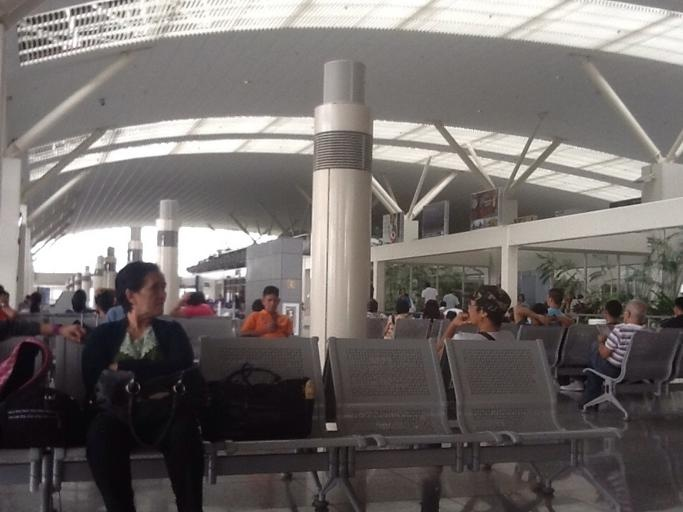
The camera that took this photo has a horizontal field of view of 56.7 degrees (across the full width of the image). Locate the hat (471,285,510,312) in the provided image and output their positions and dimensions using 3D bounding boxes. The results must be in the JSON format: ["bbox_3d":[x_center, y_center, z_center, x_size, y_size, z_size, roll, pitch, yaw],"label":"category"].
[{"bbox_3d":[1.352,0.374,5.611,0.292,0.239,0.226,29,11,25],"label":"hat"}]

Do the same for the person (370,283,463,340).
[{"bbox_3d":[1.323,1.044,11.840,0.879,1.275,0.937,0,3,-6],"label":"person"}]

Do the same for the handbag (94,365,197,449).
[{"bbox_3d":[-1.320,0.991,4.284,0.538,0.255,0.568,5,7,-8],"label":"handbag"}]
